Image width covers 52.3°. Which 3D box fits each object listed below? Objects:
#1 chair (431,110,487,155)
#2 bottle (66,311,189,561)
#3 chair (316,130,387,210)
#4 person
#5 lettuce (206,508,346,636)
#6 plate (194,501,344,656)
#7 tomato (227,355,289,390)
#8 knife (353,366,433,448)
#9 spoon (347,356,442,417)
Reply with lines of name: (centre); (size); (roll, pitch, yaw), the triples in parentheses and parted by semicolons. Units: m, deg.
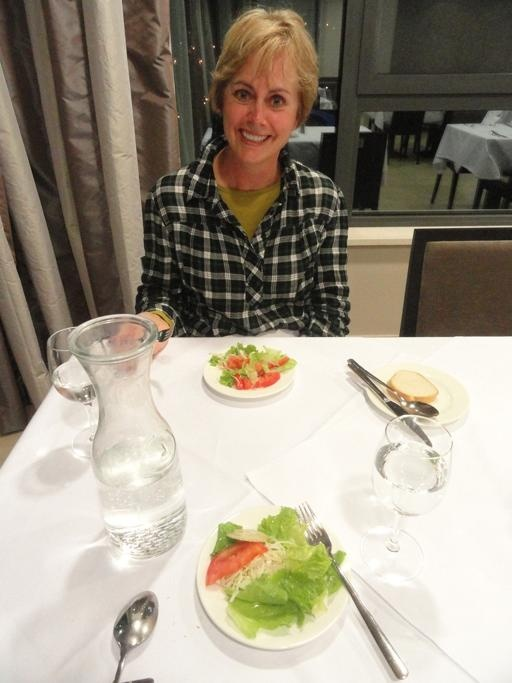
chair: (1.007, -1.057, 2.656); (0.184, 0.259, 0.406); (0, 32, 1)
bottle: (-0.157, 0.117, 0.668); (0.114, 0.300, 0.167); (-13, 34, -18)
chair: (0.416, -0.847, 2.666); (0.423, 0.416, 0.287); (-3, 36, -5)
person: (-0.045, -0.421, 1.412); (0.634, 0.803, 0.507); (-9, 33, -12)
lettuce: (0.028, 0.263, 0.602); (0.112, 0.042, 0.111); (15, 36, 14)
plate: (0.012, 0.266, 0.605); (0.159, 0.050, 0.162); (-11, 34, -16)
tomato: (-0.002, 0.063, 1.017); (0.081, 0.026, 0.062); (-5, 34, -9)
knife: (0.227, 0.104, 0.875); (0.027, 0.020, 0.197); (-29, 32, 4)
spoon: (0.249, 0.100, 0.999); (0.043, 0.028, 0.244); (-22, 36, -22)
